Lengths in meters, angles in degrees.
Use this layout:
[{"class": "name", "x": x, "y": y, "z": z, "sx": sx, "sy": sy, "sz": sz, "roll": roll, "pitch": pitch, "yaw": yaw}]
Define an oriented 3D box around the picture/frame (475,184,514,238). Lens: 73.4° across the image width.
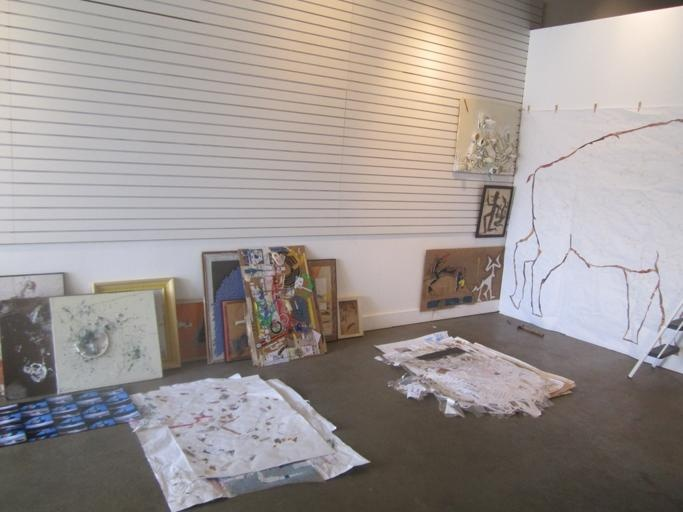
[{"class": "picture/frame", "x": 1.938, "y": -0.599, "z": 5.846, "sx": 0.712, "sy": 0.797, "sz": 0.032, "roll": -2, "pitch": 19, "yaw": -40}]
